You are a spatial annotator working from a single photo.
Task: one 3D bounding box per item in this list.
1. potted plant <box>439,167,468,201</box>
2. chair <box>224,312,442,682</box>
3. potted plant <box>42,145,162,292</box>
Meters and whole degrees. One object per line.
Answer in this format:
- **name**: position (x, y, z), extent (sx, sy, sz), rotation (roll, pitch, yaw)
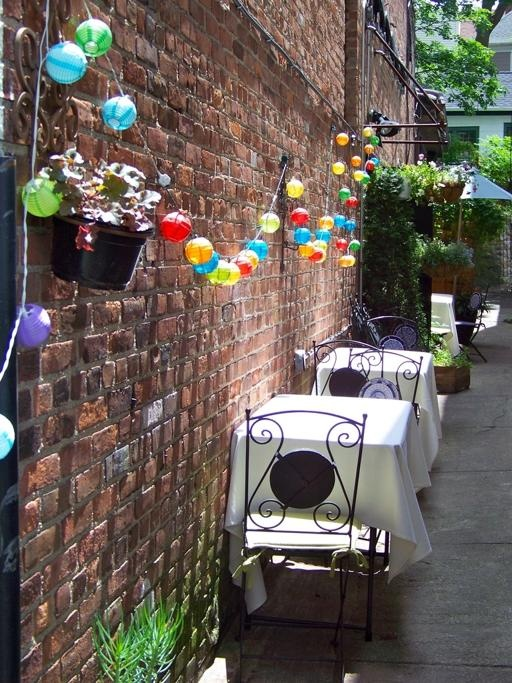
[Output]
- **potted plant**: position (3.665, -2.943, 9.726), extent (0.327, 0.735, 1.251), rotation (0, 4, 25)
- **chair**: position (0.410, 0.789, 2.706), extent (0.764, 0.879, 1.393), rotation (1, 6, 13)
- **potted plant**: position (-0.267, -0.204, 0.921), extent (0.212, 0.218, 0.206), rotation (-4, 4, -28)
